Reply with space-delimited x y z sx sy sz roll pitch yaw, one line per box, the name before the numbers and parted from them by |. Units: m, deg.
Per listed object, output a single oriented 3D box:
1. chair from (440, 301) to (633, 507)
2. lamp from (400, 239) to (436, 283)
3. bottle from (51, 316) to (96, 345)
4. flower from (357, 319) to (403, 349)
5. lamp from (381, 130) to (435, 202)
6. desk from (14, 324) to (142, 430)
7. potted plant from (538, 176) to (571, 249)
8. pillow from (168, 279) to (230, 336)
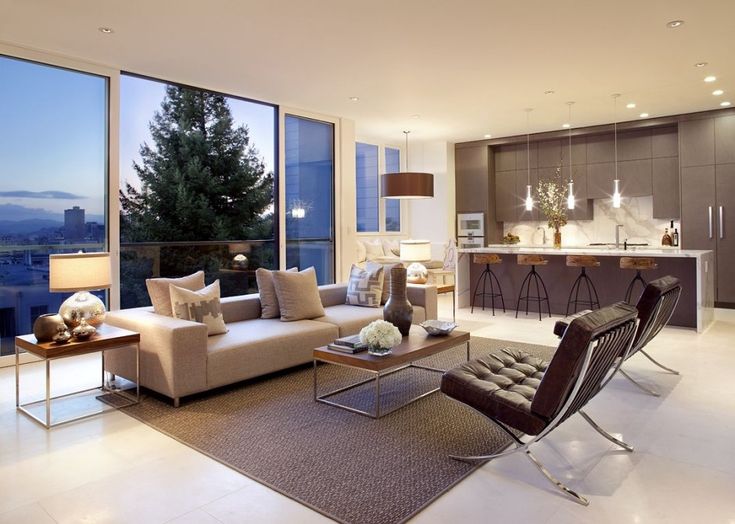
chair | 1.381 0.809 3.668 1.331 1.277 1.324 1 1 36
lamp | 0.754 -0.033 7.324 0.588 0.887 0.591 -1 1 25
bottle | -2.588 0.608 4.176 0.286 0.153 0.345 7 12 39
flower | 0.103 0.657 4.253 0.279 0.190 0.281 -1 -2 21
lamp | 0.678 -1.515 8.208 0.783 0.877 0.785 -1 2 -22
desk | -2.632 1.081 4.412 0.859 0.884 1.147 2 2 38
potted plant | 3.741 -1.042 9.584 0.683 1.537 1.611 4 10 22
pillow | -1.707 0.469 4.719 0.192 0.485 0.523 -18 -12 34
